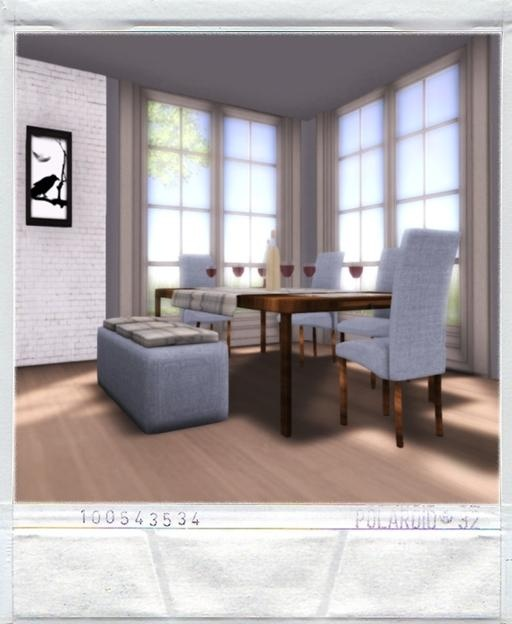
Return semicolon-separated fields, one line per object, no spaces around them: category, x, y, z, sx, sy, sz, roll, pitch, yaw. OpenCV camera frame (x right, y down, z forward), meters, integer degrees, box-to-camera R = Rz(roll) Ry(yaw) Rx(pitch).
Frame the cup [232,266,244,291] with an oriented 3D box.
cup;-0.094;-0.212;2.828;0.068;0.066;0.065;-1;-2;0

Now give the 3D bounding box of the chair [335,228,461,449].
chair;0.580;0.088;2.152;0.343;0.839;0.390;-5;9;-28

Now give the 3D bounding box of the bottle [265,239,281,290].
bottle;0.082;-0.234;2.557;0.071;0.251;0.174;-1;8;1
